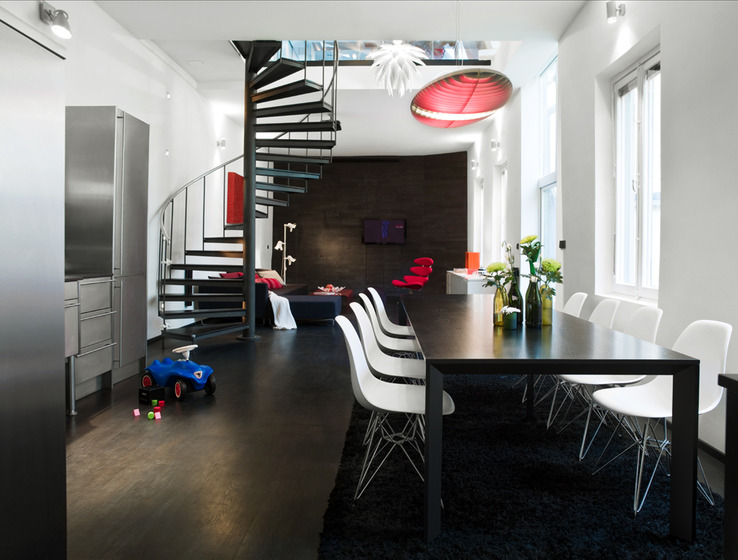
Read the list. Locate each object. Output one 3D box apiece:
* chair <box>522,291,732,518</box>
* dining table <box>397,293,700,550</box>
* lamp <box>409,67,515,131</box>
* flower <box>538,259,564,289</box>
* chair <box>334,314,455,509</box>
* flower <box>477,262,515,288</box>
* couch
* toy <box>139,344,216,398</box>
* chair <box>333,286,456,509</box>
[{"bbox_3d":[1.775,0.702,3.695,1.053,1.493,0.988,-2,4,-22],"label":"chair"},{"bbox_3d":[1.047,0.758,3.718,1.480,0.954,2.055,0,8,1],"label":"dining table"},{"bbox_3d":[1.088,-2.184,6.384,0.973,0.361,1.463,-2,8,-12],"label":"lamp"},{"bbox_3d":[1.299,-0.048,3.822,0.151,0.220,0.329,2,8,19],"label":"flower"},{"bbox_3d":[0.108,0.744,3.758,0.983,1.432,0.872,-1,5,1],"label":"chair"},{"bbox_3d":[1.212,-0.044,5.094,0.409,0.295,0.431,-3,-4,6],"label":"flower"},{"bbox_3d":[-1.422,0.272,9.168,1.816,0.965,2.802,-2,8,-13],"label":"couch"},{"bbox_3d":[-1.876,0.839,4.952,0.692,0.485,0.412,-5,-4,39],"label":"toy"},{"bbox_3d":[0.133,0.745,3.766,1.015,1.478,0.909,0,3,2],"label":"chair"}]
